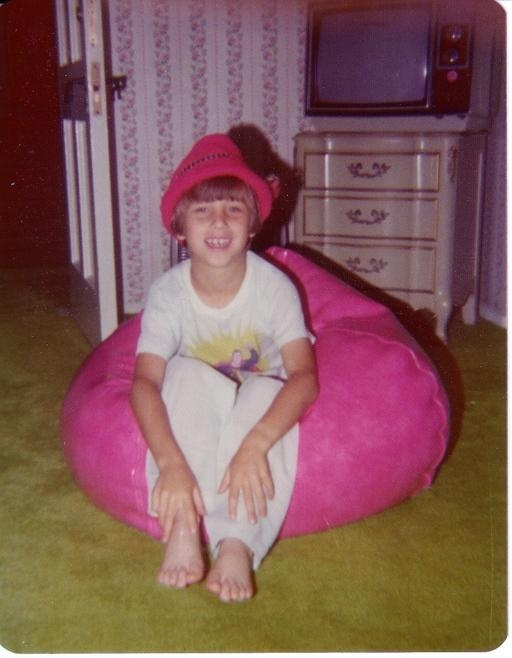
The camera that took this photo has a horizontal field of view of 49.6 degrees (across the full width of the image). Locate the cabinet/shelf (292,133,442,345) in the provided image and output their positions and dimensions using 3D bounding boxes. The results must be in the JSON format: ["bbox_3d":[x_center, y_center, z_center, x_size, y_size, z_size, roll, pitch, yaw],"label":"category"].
[{"bbox_3d":[0.429,-0.368,2.040,0.579,0.961,0.320,4,14,16],"label":"cabinet/shelf"}]

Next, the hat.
[{"bbox_3d":[-0.087,-0.311,1.107,0.188,0.143,0.218,17,-11,-32],"label":"hat"}]
